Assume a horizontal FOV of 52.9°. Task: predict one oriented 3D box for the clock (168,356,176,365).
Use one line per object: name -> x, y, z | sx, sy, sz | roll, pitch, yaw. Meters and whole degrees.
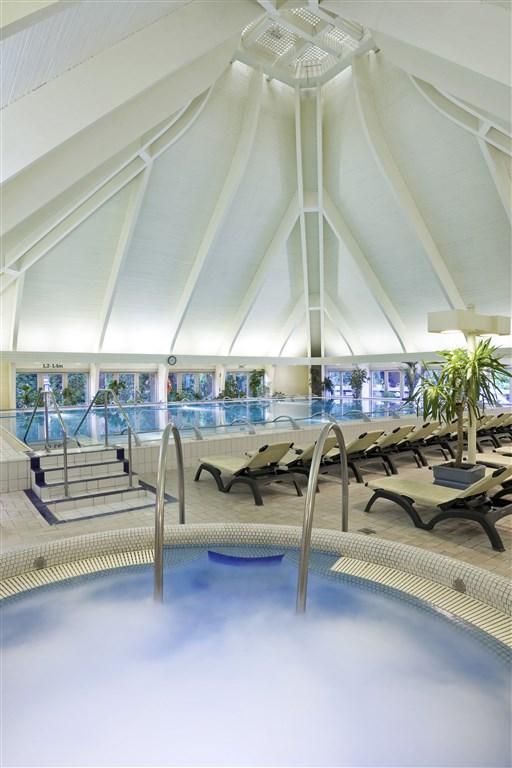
clock -> -3.526, -0.984, 21.095 | 0.091, 0.331, 0.316 | 0, 4, 44
